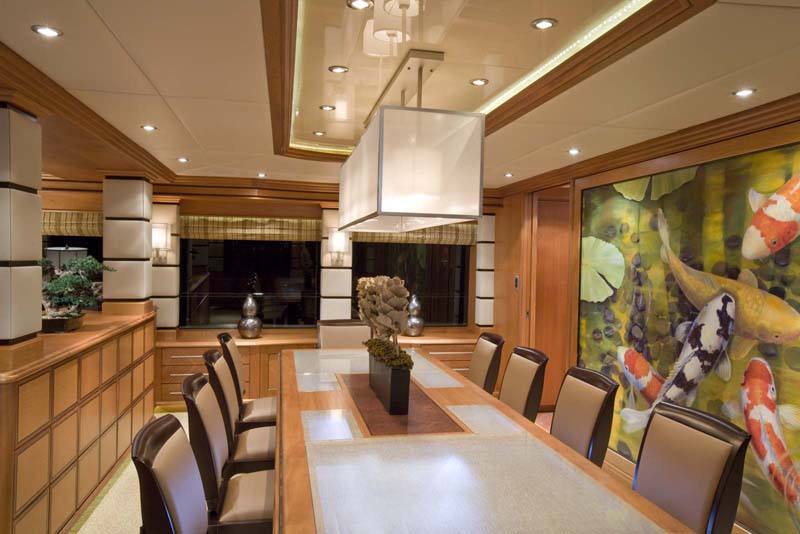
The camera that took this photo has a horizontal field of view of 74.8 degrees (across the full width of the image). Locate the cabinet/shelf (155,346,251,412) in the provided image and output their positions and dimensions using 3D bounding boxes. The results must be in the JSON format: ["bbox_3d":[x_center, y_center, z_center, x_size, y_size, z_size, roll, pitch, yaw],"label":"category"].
[{"bbox_3d":[-2.621,1.345,6.520,0.741,0.735,0.405,2,4,-9],"label":"cabinet/shelf"}]

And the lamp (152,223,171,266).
[{"bbox_3d":[-3.013,-0.288,6.536,0.309,0.491,0.311,3,5,-12],"label":"lamp"}]

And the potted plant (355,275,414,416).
[{"bbox_3d":[-0.100,0.504,3.814,0.320,0.886,0.888,-4,1,-12],"label":"potted plant"}]

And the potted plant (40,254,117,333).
[{"bbox_3d":[-3.002,0.283,4.819,0.398,0.513,0.458,12,6,38],"label":"potted plant"}]

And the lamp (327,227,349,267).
[{"bbox_3d":[-0.836,-0.220,6.958,0.286,0.524,0.273,1,-7,-9],"label":"lamp"}]

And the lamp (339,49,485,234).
[{"bbox_3d":[-0.060,-0.813,3.724,0.524,1.068,1.431,3,-3,-17],"label":"lamp"}]
